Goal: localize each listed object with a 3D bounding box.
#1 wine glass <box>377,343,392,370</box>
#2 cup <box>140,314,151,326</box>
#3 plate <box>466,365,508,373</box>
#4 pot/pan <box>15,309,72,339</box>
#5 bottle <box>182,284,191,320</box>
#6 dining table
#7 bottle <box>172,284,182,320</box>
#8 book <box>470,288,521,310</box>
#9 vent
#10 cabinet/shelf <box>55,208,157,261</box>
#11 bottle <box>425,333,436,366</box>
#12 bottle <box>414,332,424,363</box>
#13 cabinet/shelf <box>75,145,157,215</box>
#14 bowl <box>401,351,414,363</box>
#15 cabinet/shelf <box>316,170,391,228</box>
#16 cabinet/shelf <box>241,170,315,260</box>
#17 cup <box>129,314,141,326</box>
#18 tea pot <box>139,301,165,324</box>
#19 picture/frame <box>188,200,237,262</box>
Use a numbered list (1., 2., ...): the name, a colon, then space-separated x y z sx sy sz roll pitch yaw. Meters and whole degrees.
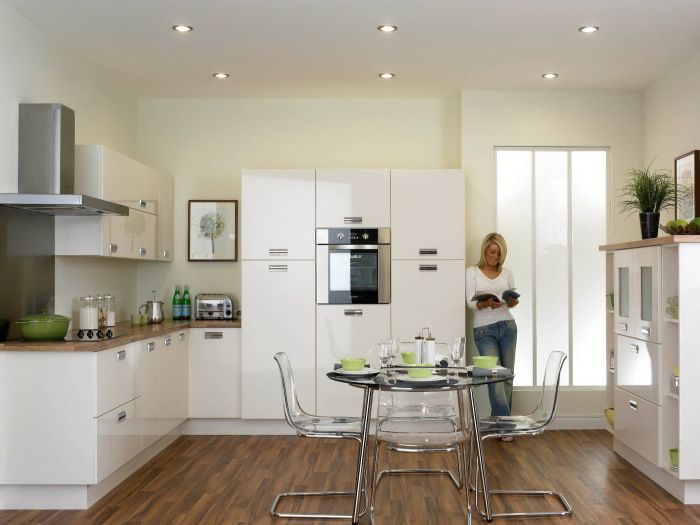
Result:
1. wine glass: 0.251 0.624 3.702 0.092 0.195 0.162 0 1 4
2. cup: -2.031 0.553 5.387 0.101 0.092 0.272 -1 1 -19
3. plate: 0.945 0.733 3.743 0.157 0.037 0.156 1 -7 -4
4. pot/pan: -2.274 0.441 4.053 0.251 0.129 0.225 1 -8 -13
5. bottle: -1.767 0.418 5.835 0.092 0.356 0.209 -1 2 -16
6. dining table: 0.495 1.131 3.837 1.144 0.832 1.184 0 -12 -1
7. bottle: -1.865 0.417 5.826 0.113 0.355 0.252 -1 2 -19
8. book: 1.337 0.335 5.001 0.405 0.182 0.434 0 1 13
9. vent: -2.246 -0.822 4.177 0.669 0.844 0.726 0 1 4
10. cabinet/shelf: -2.138 -0.268 4.914 0.363 0.472 1.001 0 1 17
11. bottle: 0.556 0.600 3.771 0.063 0.187 0.179 0 1 14
12. bottle: 0.490 0.591 3.820 0.067 0.201 0.216 0 1 6
13. cabinet/shelf: -2.073 -0.713 4.753 0.160 0.304 0.849 1 -5 11
14. bowl: 0.412 0.664 3.801 0.058 0.079 0.092 -2 2 -44
15. cabinet/shelf: 0.032 -0.512 5.533 0.955 0.706 0.517 0 -4 0
16. cabinet/shelf: -0.720 -0.521 5.412 0.859 1.100 0.590 0 -3 0
17. cup: -2.146 0.571 5.376 0.098 0.103 0.108 2 -4 -1
18. tea pot: -2.084 0.506 5.605 0.321 0.239 0.203 -1 -2 -1
19. picture/frame: -1.503 -0.337 5.915 0.656 0.817 0.032 0 1 -2
